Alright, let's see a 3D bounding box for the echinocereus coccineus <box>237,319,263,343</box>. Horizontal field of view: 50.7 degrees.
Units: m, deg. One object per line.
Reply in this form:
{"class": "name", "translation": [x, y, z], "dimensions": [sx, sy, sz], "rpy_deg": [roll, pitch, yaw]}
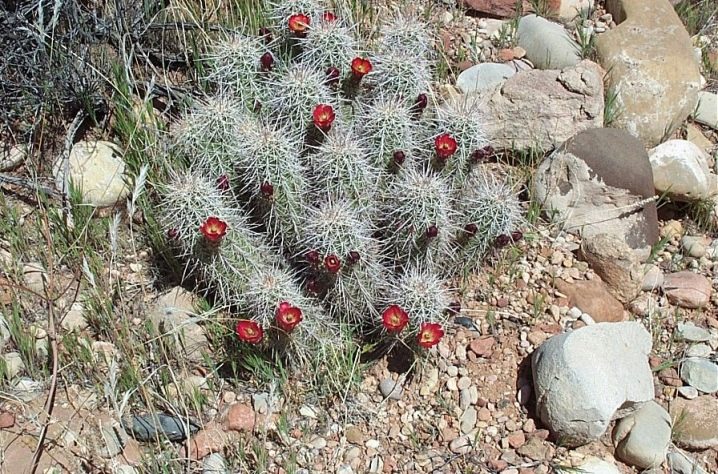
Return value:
{"class": "echinocereus coccineus", "translation": [-0.733, 0.635, 5.137], "dimensions": [0.163, 0.080, 0.167], "rpy_deg": [3, 52, -11]}

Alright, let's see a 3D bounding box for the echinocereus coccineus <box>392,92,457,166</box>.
{"class": "echinocereus coccineus", "translation": [0.500, -0.800, 5.669], "dimensions": [0.475, 0.381, 0.762], "rpy_deg": [9, 51, -5]}

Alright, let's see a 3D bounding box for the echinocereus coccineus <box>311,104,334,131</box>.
{"class": "echinocereus coccineus", "translation": [-0.245, -0.867, 5.381], "dimensions": [0.153, 0.156, 0.182], "rpy_deg": [9, 50, -5]}

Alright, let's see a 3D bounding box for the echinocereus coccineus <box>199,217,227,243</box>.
{"class": "echinocereus coccineus", "translation": [-0.987, -0.059, 5.187], "dimensions": [0.159, 0.136, 0.183], "rpy_deg": [16, 50, 1]}

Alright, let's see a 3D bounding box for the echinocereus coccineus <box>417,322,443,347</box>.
{"class": "echinocereus coccineus", "translation": [0.488, 0.678, 5.184], "dimensions": [0.167, 0.140, 0.160], "rpy_deg": [10, 50, -4]}
